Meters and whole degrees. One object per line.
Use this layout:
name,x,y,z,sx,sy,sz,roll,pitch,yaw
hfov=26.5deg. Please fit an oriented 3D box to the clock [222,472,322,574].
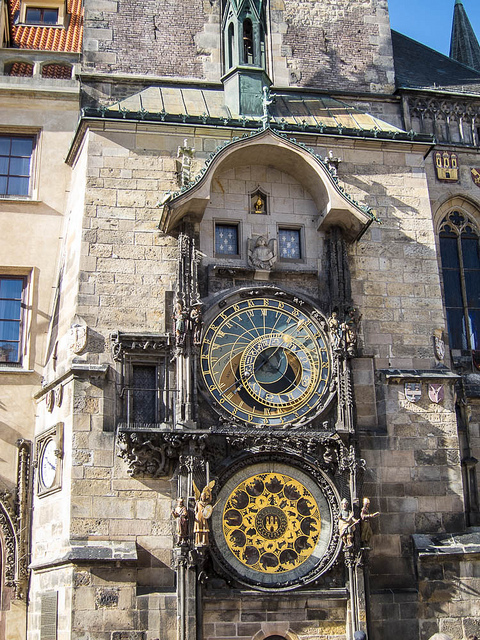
clock,0.524,3.390,17.040,1.639,1.646,0.086,3,-19,-15

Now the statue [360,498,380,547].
statue,2.141,3.392,17.076,0.331,0.791,1.029,-4,-17,7

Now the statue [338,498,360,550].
statue,1.785,3.376,16.886,0.336,0.825,0.384,-3,-18,4

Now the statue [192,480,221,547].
statue,-0.580,3.110,16.429,0.361,1.093,0.600,-1,-18,-3

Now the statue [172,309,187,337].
statue,-1.055,0.051,17.581,0.272,0.466,0.128,-11,-20,26

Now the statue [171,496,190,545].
statue,-0.940,3.202,16.319,0.249,0.774,0.289,-2,-18,-1

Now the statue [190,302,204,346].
statue,-0.754,0.063,17.652,0.221,0.743,0.233,-1,-18,-5

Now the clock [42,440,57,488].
clock,-3.245,2.476,17.431,0.063,0.705,0.751,9,-25,-30
